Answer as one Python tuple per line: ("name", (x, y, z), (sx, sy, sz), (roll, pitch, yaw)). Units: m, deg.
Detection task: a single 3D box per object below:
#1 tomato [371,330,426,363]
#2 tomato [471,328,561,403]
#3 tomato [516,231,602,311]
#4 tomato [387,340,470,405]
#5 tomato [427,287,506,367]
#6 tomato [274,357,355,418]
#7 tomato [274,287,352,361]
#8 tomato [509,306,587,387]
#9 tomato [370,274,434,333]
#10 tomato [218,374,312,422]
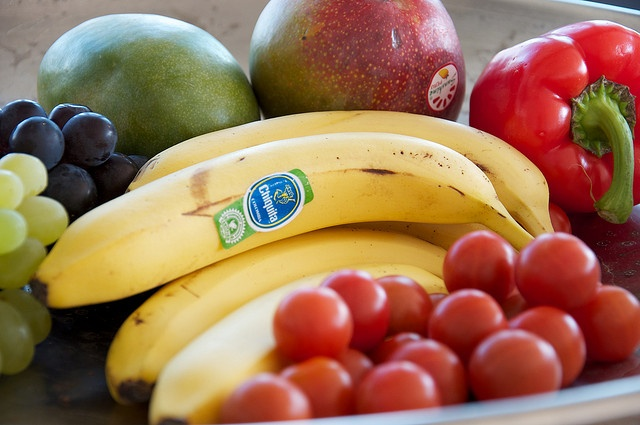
("tomato", (0.105, 0.172, 0.837), (0.053, 0.042, 0.031), (-28, 78, 13))
("tomato", (0.246, 0.198, 0.783), (0.109, 0.074, 0.067), (4, 40, 0))
("tomato", (0.326, 0.084, 0.850), (0.108, 0.085, 0.076), (26, 45, 25))
("tomato", (0.146, 0.204, 0.830), (0.078, 0.100, 0.078), (-5, 10, 5))
("tomato", (0.209, 0.170, 0.854), (0.114, 0.111, 0.114), (-11, 70, -7))
("tomato", (0.002, 0.219, 0.822), (0.083, 0.062, 0.120), (-5, 27, -11))
("tomato", (-0.006, 0.163, 0.837), (0.111, 0.106, 0.115), (-8, 70, 8))
("tomato", (0.291, 0.175, 0.842), (0.084, 0.105, 0.098), (-1, 57, 6))
("tomato", (0.123, 0.129, 0.904), (0.102, 0.106, 0.095), (-8, 0, 0))
("tomato", (-0.066, 0.234, 0.760), (0.109, 0.045, 0.056), (-1, 40, -5))
